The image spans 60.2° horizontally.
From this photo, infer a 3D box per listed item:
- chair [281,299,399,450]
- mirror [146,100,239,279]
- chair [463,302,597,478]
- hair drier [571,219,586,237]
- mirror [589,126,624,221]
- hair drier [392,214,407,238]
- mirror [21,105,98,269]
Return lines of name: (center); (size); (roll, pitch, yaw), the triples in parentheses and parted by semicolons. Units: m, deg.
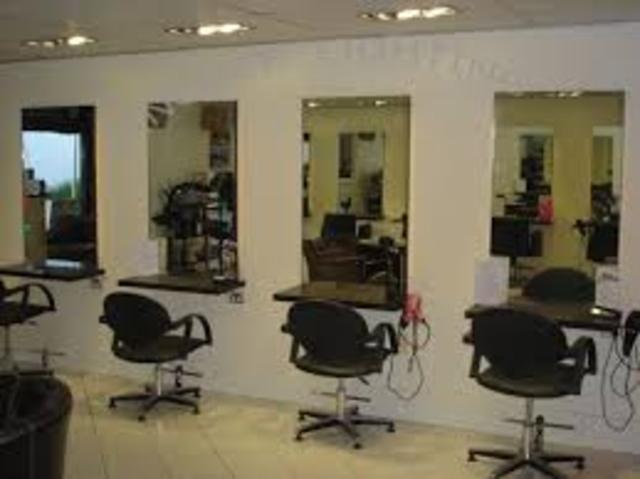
chair: (0.154, 1.015, 4.468); (0.908, 1.235, 0.684); (-1, 10, -5)
mirror: (-1.222, -0.480, 5.292); (0.933, 1.635, 0.191); (3, 10, 16)
chair: (1.498, 1.079, 3.962); (0.867, 1.331, 0.538); (1, 10, 7)
hair drier: (2.030, -0.089, 4.343); (0.105, 0.136, 0.019); (2, 10, 9)
mirror: (2.214, -0.509, 4.284); (0.212, 0.701, 0.093); (2, 10, 8)
hair drier: (0.728, -0.120, 4.851); (0.183, 0.273, 0.089); (1, 1, 10)
mirror: (-2.686, -0.563, 5.782); (0.906, 1.611, 0.246); (5, 11, 25)
